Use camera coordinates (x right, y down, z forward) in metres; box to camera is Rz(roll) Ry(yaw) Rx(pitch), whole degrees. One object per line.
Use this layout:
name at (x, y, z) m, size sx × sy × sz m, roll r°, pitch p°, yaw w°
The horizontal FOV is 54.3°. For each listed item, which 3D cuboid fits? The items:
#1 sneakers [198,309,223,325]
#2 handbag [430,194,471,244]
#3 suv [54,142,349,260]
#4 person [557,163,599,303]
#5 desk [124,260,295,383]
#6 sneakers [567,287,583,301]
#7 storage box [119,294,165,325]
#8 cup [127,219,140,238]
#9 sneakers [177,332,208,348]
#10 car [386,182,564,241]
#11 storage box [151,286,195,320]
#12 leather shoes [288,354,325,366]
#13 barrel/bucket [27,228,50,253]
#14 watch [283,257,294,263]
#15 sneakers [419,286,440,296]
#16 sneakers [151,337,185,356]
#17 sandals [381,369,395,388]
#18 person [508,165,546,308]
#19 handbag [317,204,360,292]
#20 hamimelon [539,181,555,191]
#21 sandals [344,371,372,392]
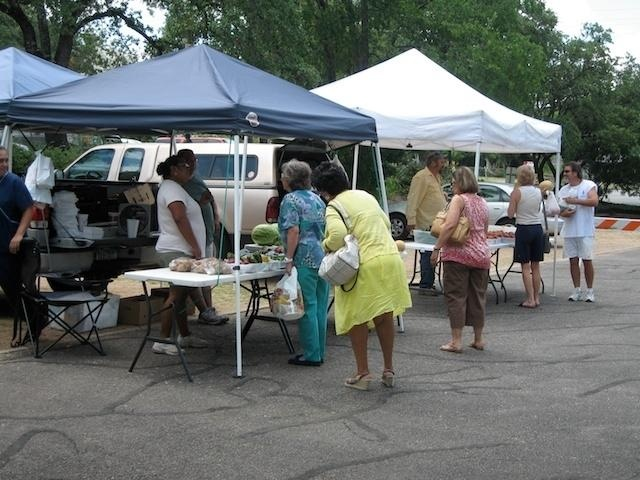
sneakers at (-1.457, 1.026, 8.191) m, size 0.307 × 0.120 × 0.158 m, roll 1°, pitch 1°, yaw 23°
handbag at (1.496, -0.231, 7.224) m, size 0.310 × 0.526 × 0.585 m, roll 0°, pitch 8°, yaw -11°
suv at (-2.703, -0.971, 11.905) m, size 4.472 × 1.602 × 2.441 m, roll 3°, pitch 3°, yaw 23°
person at (4.249, -0.146, 10.276) m, size 0.681 × 2.243 × 0.940 m, roll 5°, pitch 8°, yaw 23°
desk at (-1.214, 0.439, 6.531) m, size 1.120 × 0.939 × 2.022 m, roll 1°, pitch 0°, yaw 18°
sneakers at (4.198, 0.904, 10.262) m, size 0.401 × 0.231 × 0.162 m, roll 3°, pitch -4°, yaw -44°
storage box at (-2.278, 0.902, 7.910) m, size 0.412 × 0.264 × 0.558 m, roll 4°, pitch 5°, yaw 34°
cup at (-2.501, -0.146, 8.232) m, size 0.129 × 0.246 × 0.230 m, roll 1°, pitch 7°, yaw -3°
sneakers at (-1.487, 1.177, 7.278) m, size 0.364 × 0.143 × 0.142 m, roll 2°, pitch -2°, yaw -6°
car at (4.485, -0.950, 18.399) m, size 4.956 × 1.561 × 2.144 m, roll -2°, pitch 2°, yaw 17°
storage box at (-2.092, 0.787, 8.560) m, size 0.654 × 0.586 × 0.450 m, roll 2°, pitch 0°, yaw 15°
leather shoes at (-0.148, 1.271, 6.678) m, size 0.357 × 0.117 × 0.132 m, roll 5°, pitch 2°, yaw 23°
barrel/bucket at (-3.299, 0.011, 7.284) m, size 0.277 × 0.368 × 0.214 m, roll -6°, pitch -8°, yaw 34°
watch at (-0.334, 0.199, 6.442) m, size 0.076 × 0.023 × 0.075 m, roll 14°, pitch -13°, yaw -39°
sneakers at (1.851, 0.873, 10.575) m, size 0.393 × 0.158 × 0.128 m, roll 2°, pitch 7°, yaw 9°
sneakers at (-1.729, 1.187, 6.965) m, size 0.465 × 0.192 × 0.180 m, roll 2°, pitch -2°, yaw 14°
sandals at (0.652, 1.346, 6.026) m, size 0.082 × 0.083 × 0.202 m, roll 0°, pitch 3°, yaw 3°
person at (3.168, -0.059, 9.561) m, size 0.518 × 2.228 × 0.981 m, roll 6°, pitch 9°, yaw 30°
handbag at (0.177, 0.067, 5.792) m, size 0.395 × 0.868 × 0.907 m, roll -1°, pitch -1°, yaw -16°
hamimelon at (3.613, -0.860, 9.974) m, size 0.200 × 0.091 × 0.257 m, roll -2°, pitch 6°, yaw 5°
sandals at (0.374, 1.367, 6.033) m, size 0.247 × 0.162 × 0.127 m, roll 4°, pitch 1°, yaw 33°
